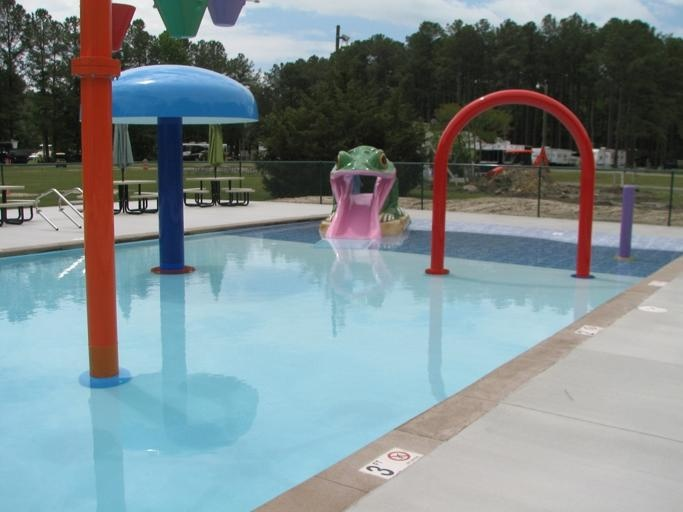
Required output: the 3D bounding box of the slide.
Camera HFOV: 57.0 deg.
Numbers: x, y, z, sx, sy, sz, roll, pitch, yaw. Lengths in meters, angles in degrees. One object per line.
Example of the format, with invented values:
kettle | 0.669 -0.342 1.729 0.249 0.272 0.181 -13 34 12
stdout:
slide | 0.375 -1.600 14.862 1.633 1.135 3.146 -3 30 2
